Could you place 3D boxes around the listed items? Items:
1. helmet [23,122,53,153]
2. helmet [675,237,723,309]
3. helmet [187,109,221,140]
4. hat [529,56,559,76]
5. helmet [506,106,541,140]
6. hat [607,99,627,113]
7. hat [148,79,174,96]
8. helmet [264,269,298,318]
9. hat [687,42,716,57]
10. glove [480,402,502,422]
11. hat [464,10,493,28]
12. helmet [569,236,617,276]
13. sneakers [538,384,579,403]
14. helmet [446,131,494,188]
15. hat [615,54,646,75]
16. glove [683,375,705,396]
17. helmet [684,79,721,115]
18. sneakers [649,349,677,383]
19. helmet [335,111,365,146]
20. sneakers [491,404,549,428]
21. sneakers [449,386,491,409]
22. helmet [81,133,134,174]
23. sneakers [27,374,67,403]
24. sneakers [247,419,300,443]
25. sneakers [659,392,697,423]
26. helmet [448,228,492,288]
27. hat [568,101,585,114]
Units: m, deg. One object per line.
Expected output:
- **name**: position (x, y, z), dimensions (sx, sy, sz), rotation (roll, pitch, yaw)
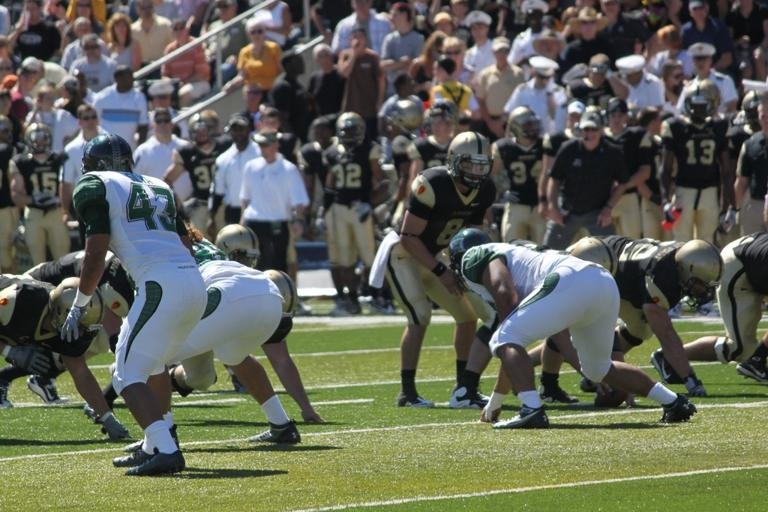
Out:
- **helmet**: position (-4.065, -1.395, 15.910), dimensions (0.310, 0.359, 0.345), rotation (-30, 0, -15)
- **helmet**: position (2.595, 0.121, 10.383), dimensions (0.450, 0.491, 0.377), rotation (13, 21, 32)
- **helmet**: position (-2.147, -1.586, 16.019), dimensions (0.402, 0.336, 0.313), rotation (-3, 1, -25)
- **hat**: position (1.878, -2.237, 15.610), dimensions (0.301, 0.212, 0.512), rotation (-3, 1, 11)
- **helmet**: position (1.553, -1.457, 14.592), dimensions (0.377, 0.339, 0.285), rotation (6, 20, 33)
- **hat**: position (2.555, -1.649, 14.504), dimensions (0.213, 0.128, 0.200), rotation (-3, 1, 8)
- **hat**: position (-2.909, -2.206, 17.353), dimensions (0.327, 0.258, 0.718), rotation (-3, 1, -9)
- **helmet**: position (-0.785, 0.286, 10.202), dimensions (0.199, 0.324, 0.447), rotation (-3, 1, 5)
- **hat**: position (3.691, -2.383, 15.367), dimensions (0.273, 0.142, 0.328), rotation (-3, 1, -6)
- **glove**: position (0.813, 1.180, 10.013), dimensions (0.142, 0.127, 0.109), rotation (5, -1, 0)
- **hat**: position (1.168, -2.993, 16.838), dimensions (0.346, 0.184, 0.338), rotation (-3, 1, 20)
- **helmet**: position (1.643, 0.005, 10.425), dimensions (0.370, 0.252, 0.477), rotation (-3, 1, 10)
- **sneakers**: position (1.401, 1.114, 10.803), dimensions (0.354, 0.159, 0.120), rotation (2, -1, 0)
- **helmet**: position (0.662, -0.767, 10.528), dimensions (0.337, 0.365, 0.419), rotation (1, 21, -16)
- **hat**: position (2.884, -2.231, 15.508), dimensions (0.315, 0.186, 0.272), rotation (-3, 1, 10)
- **glove**: position (2.490, 1.044, 10.663), dimensions (0.127, 0.196, 0.083), rotation (-27, -13, -20)
- **helmet**: position (3.433, -1.727, 14.255), dimensions (0.316, 0.384, 0.415), rotation (4, -8, 10)
- **sneakers**: position (2.397, 0.931, 11.240), dimensions (0.241, 0.245, 0.392), rotation (-3, 1, 12)
- **helmet**: position (-0.379, -1.461, 15.233), dimensions (0.320, 0.345, 0.334), rotation (-3, 1, 2)
- **sneakers**: position (1.006, 1.179, 9.744), dimensions (0.432, 0.186, 0.147), rotation (-1, -4, 11)
- **sneakers**: position (0.668, 1.137, 10.647), dimensions (0.390, 0.261, 0.131), rotation (-1, 0, -1)
- **helmet**: position (-1.877, -0.705, 9.128), dimensions (0.254, 0.275, 0.317), rotation (-4, 21, -18)
- **sneakers**: position (-2.829, 1.115, 11.124), dimensions (0.325, 0.156, 0.107), rotation (30, 12, -19)
- **sneakers**: position (-0.791, 1.253, 9.572), dimensions (0.375, 0.157, 0.129), rotation (3, 0, 13)
- **sneakers**: position (2.150, 1.130, 9.817), dimensions (0.129, 0.172, 0.326), rotation (-20, 1, -14)
- **helmet**: position (0.595, -0.031, 10.340), dimensions (0.336, 0.417, 0.413), rotation (0, 6, -14)
- **hat**: position (2.141, -1.639, 14.717), dimensions (0.181, 0.112, 0.279), rotation (3, 9, 6)
